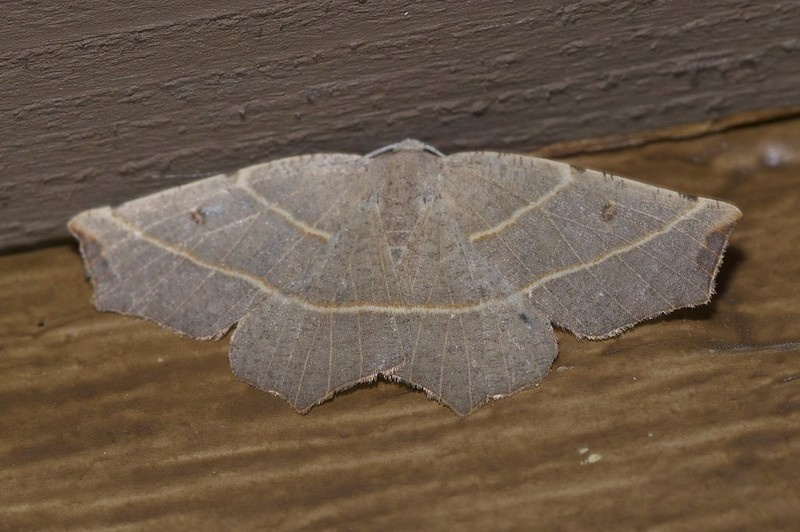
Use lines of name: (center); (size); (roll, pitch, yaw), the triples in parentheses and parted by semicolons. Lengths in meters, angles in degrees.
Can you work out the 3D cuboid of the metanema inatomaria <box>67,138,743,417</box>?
metanema inatomaria: (-0.190, 0.037, 7.257); (5.167, 0.341, 1.579); (0, 97, 3)
